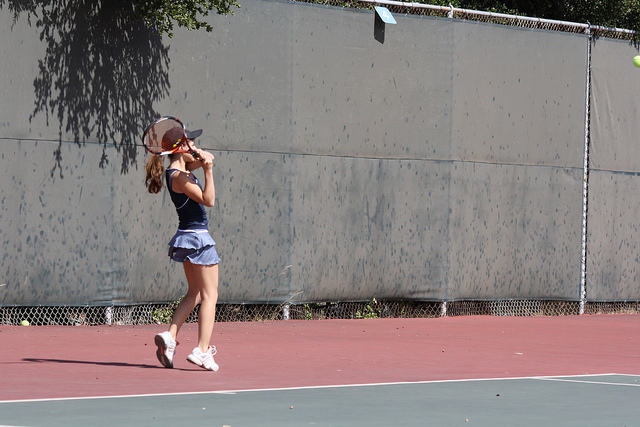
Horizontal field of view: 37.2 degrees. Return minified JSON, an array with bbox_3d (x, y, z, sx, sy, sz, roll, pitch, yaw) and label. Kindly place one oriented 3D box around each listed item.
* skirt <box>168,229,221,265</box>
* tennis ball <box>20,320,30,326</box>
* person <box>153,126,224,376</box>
[{"bbox_3d":[-1.303,0.354,9.795,0.520,0.396,0.235,-5,-3,0],"label":"skirt"},{"bbox_3d":[-3.742,1.405,12.122,0.066,0.066,0.061,7,19,-2],"label":"tennis ball"},{"bbox_3d":[-1.368,0.378,9.796,0.685,2.559,0.431,-4,-3,1],"label":"person"}]
